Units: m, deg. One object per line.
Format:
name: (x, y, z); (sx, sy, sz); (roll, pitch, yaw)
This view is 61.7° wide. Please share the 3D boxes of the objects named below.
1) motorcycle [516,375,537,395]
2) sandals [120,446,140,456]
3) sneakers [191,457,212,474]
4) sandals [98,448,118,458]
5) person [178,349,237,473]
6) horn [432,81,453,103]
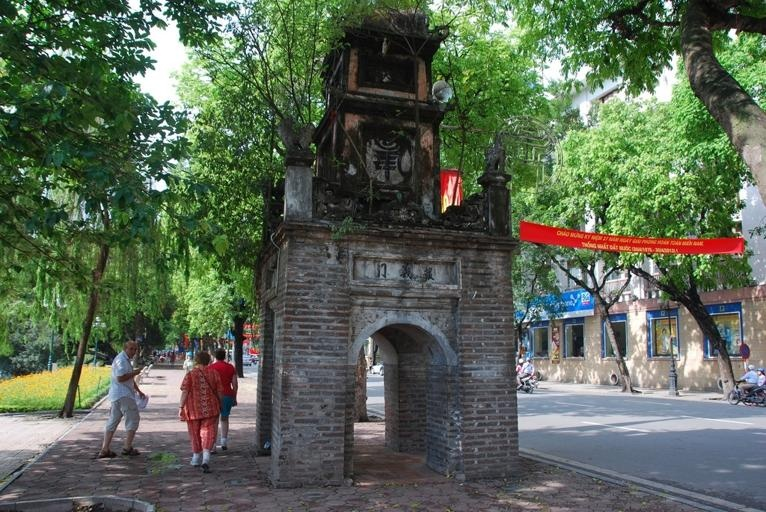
motorcycle: (7.204, 6.439, 32.261); (0.841, 0.914, 1.060); (-2, -11, 11)
sandals: (-5.965, 4.583, 15.097); (0.414, 0.205, 0.183); (10, -5, -37)
sneakers: (-4.020, 4.580, 14.097); (0.213, 0.272, 0.628); (8, -9, -13)
sandals: (-6.423, 4.576, 14.905); (0.174, 0.182, 0.384); (-2, -6, 34)
person: (-4.065, 3.413, 14.202); (0.925, 2.545, 0.782); (6, -12, -29)
horn: (1.420, -4.015, 15.993); (0.532, 0.540, 0.355); (6, -5, -15)
